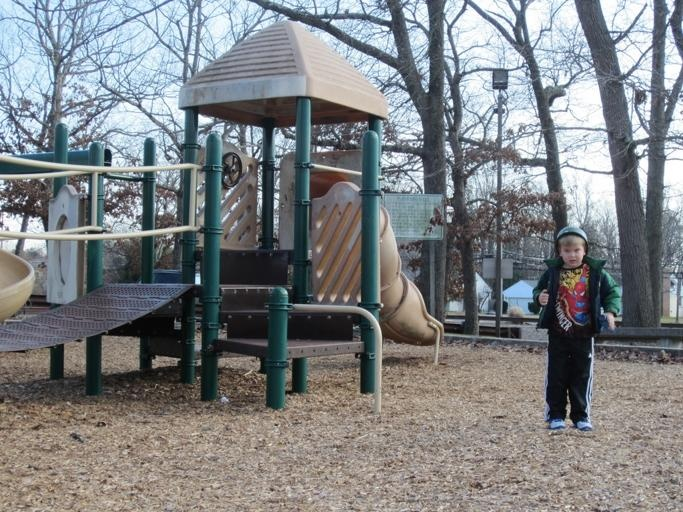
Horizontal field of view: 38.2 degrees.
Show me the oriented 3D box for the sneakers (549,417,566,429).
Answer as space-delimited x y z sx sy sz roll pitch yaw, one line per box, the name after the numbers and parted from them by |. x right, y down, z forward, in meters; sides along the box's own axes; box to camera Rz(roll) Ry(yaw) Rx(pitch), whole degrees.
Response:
2.223 1.729 10.142 0.101 0.100 0.130 2 7 -29 | sneakers

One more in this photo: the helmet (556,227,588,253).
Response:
2.413 -0.150 10.330 0.369 0.228 0.378 -1 -23 14 | helmet

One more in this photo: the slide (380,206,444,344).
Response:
0.886 0.373 13.081 0.755 2.258 2.132 2 11 10 | slide

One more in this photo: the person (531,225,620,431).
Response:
2.404 0.741 10.201 0.880 2.039 0.636 3 11 11 | person

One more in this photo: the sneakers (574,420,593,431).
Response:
2.481 1.748 10.122 0.174 0.074 0.159 3 11 12 | sneakers
